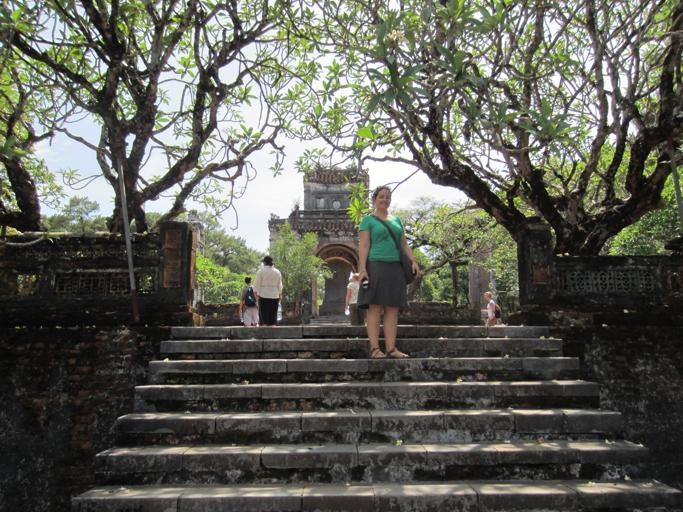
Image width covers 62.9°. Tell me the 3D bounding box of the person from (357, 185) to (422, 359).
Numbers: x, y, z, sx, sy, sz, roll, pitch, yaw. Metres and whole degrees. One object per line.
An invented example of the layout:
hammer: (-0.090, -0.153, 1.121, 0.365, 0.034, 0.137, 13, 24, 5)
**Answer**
person: (0.598, 0.201, 7.398, 0.745, 1.649, 0.448, 2, -1, 3)

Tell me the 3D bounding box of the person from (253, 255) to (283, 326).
person: (-1.556, 0.756, 11.931, 0.594, 1.261, 1.852, 2, -1, -8)

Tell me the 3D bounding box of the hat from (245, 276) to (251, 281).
hat: (-2.213, 0.551, 13.347, 0.087, 0.117, 0.114, -6, 10, -13)

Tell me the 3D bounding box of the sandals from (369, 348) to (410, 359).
sandals: (0.623, 1.268, 7.267, 0.496, 0.095, 0.226, 2, -2, 4)

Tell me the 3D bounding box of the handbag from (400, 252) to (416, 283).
handbag: (0.864, 0.150, 7.351, 0.217, 0.350, 0.124, 11, -19, -41)
